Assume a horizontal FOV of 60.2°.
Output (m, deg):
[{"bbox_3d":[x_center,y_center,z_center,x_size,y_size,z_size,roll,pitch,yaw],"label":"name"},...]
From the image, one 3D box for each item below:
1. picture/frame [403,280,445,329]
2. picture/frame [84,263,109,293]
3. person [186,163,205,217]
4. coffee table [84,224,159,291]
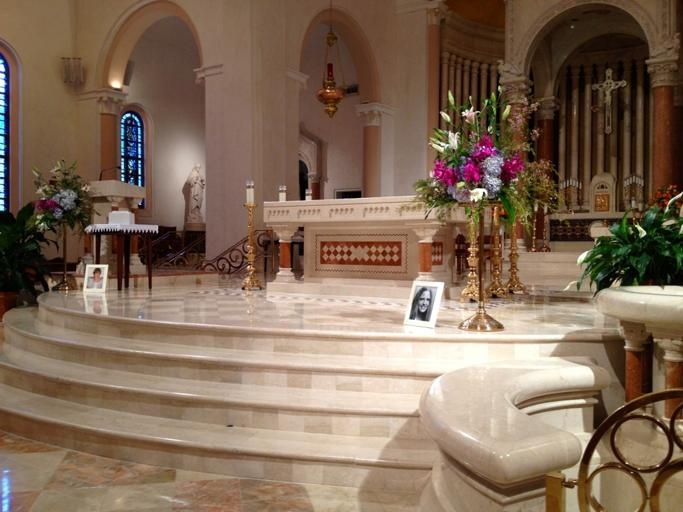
[{"bbox_3d":[0.744,0.446,5.292,0.026,0.330,0.373,22,-17,-29],"label":"picture/frame"},{"bbox_3d":[-3.429,0.317,8.274,0.340,0.398,0.027,-2,-10,18],"label":"picture/frame"},{"bbox_3d":[-4.347,-1.867,17.512,0.554,1.751,1.325,-1,2,-15],"label":"person"},{"bbox_3d":[-3.220,-0.051,8.769,1.073,1.113,1.139,-6,16,-25],"label":"coffee table"}]
